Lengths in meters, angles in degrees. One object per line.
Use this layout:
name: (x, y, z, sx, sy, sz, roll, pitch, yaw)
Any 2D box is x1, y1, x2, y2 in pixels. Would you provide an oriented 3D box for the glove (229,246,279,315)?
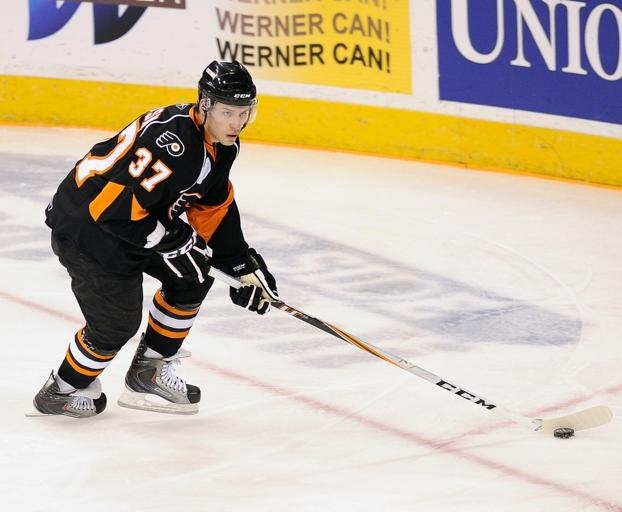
glove: (-0.197, 0.087, 2.765, 0.121, 0.156, 0.276, -30, 42, -5)

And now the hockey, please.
hockey: (0.378, 0.392, 3.037, 1.639, 0.109, 0.147, 16, -31, 13)

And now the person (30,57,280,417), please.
person: (-0.500, -0.041, 2.614, 0.639, 1.276, 0.437, 1, 18, -44)

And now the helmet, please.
helmet: (-0.267, -0.524, 2.381, 0.163, 0.174, 0.127, 8, 12, -17)

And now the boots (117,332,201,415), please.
boots: (-0.562, 0.450, 2.786, 0.380, 0.208, 0.143, 22, -12, -40)

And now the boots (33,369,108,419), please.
boots: (-0.807, 0.486, 2.611, 0.384, 0.102, 0.126, -6, -2, 31)
